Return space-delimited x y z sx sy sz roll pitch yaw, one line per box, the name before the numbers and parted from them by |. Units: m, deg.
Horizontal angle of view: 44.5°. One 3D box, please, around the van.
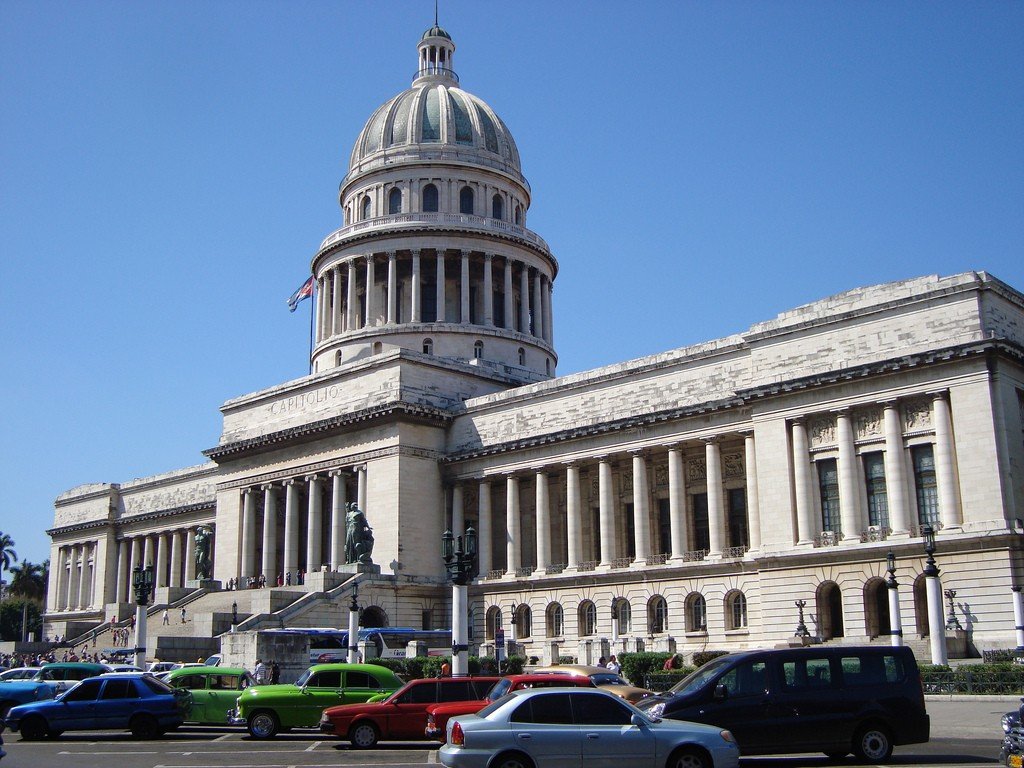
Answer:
van | 6.682 7.957 30.887 6.491 2.187 2.882 1 -17 -1
